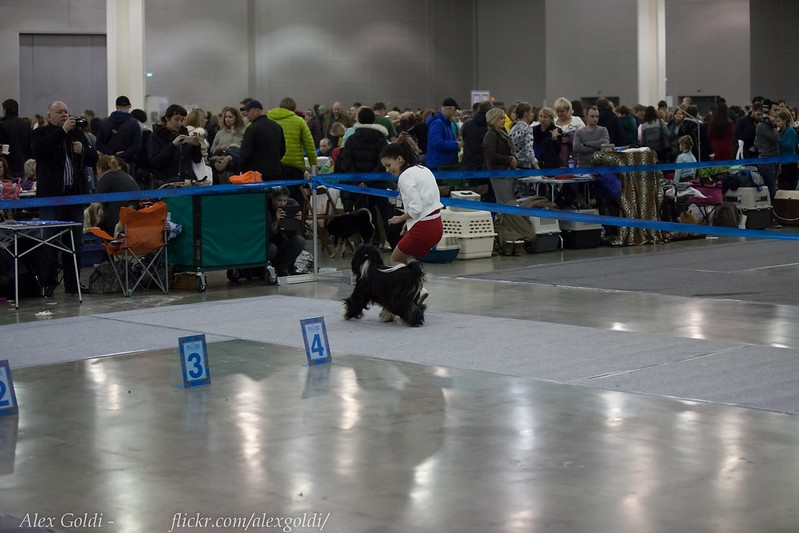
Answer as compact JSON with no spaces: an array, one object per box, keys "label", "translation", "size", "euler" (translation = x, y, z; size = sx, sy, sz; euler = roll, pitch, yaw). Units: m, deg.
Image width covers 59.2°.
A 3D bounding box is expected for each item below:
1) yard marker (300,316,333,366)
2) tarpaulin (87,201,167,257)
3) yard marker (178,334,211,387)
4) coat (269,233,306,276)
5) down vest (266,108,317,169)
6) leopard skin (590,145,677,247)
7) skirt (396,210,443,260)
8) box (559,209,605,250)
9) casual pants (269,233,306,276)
[{"label":"yard marker","translation":[-0.717,0.656,6.190],"size":[0.314,0.393,0.182],"euler":[-4,4,-31]},{"label":"tarpaulin","translation":[-3.570,-0.310,9.481],"size":[0.768,0.883,1.076],"euler":[-7,1,42]},{"label":"yard marker","translation":[-1.642,0.746,5.606],"size":[0.233,0.386,0.209],"euler":[-4,4,-27]},{"label":"coat","translation":[-1.703,-0.185,10.483],"size":[0.572,0.571,0.255],"euler":[12,0,-30]},{"label":"down vest","translation":[-2.121,-2.264,12.507],"size":[1.240,1.177,0.535],"euler":[-1,19,-4]},{"label":"leopard skin","translation":[4.484,-1.373,14.315],"size":[1.901,1.952,2.233],"euler":[-1,3,28]},{"label":"skirt","translation":[0.236,-0.303,7.688],"size":[0.434,0.358,0.590],"euler":[-21,-5,-43]},{"label":"box","translation":[3.807,-0.721,13.431],"size":[0.725,0.705,1.089],"euler":[-6,1,-18]},{"label":"casual pants","translation":[-1.693,-0.184,10.482],"size":[0.572,0.571,0.255],"euler":[12,0,-30]}]
